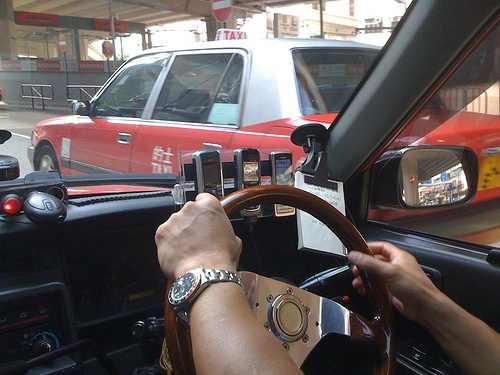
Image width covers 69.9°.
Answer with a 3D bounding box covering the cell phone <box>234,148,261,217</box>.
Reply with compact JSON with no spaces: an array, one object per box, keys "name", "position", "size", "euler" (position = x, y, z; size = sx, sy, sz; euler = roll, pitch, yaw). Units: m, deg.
[{"name":"cell phone","position":[-0.012,-0.040,1.693],"size":[0.141,0.292,0.142],"euler":[-17,26,-37]}]
